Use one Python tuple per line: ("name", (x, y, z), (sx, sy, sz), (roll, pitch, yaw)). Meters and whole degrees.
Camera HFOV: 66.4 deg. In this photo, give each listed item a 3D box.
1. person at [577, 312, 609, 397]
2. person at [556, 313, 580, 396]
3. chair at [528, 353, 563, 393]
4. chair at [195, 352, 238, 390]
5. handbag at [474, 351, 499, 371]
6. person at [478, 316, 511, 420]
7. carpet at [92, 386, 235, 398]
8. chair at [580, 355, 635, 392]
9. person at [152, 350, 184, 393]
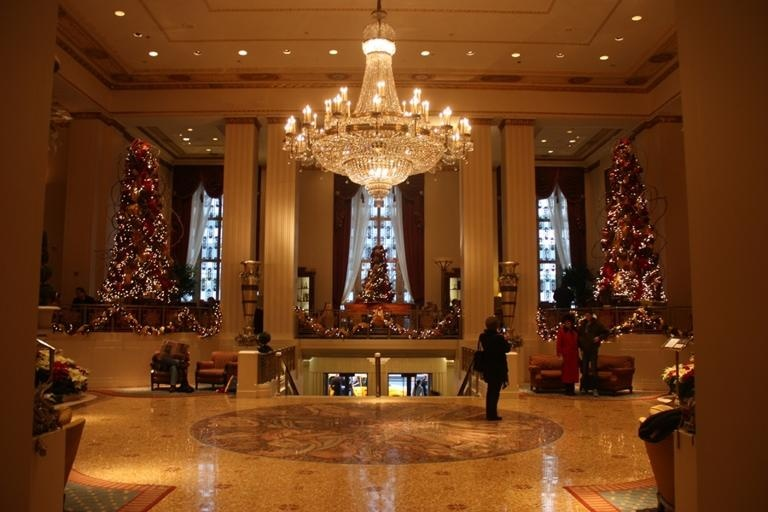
("person", (4.130, 1.970, 11.843), (0.522, 1.608, 0.604), (1, -5, -8))
("person", (3.710, 1.979, 11.825), (0.431, 1.594, 0.638), (-1, -5, 18))
("chair", (3.515, 2.489, 12.499), (0.807, 0.779, 0.914), (-4, -12, 20))
("chair", (-3.603, 2.509, 12.828), (0.854, 0.848, 0.718), (-3, -9, 23))
("handbag", (1.537, 1.596, 8.866), (0.324, 0.355, 0.267), (-1, -10, 10))
("person", (1.683, 1.721, 8.988), (0.466, 1.553, 0.356), (-1, -5, 11))
("carpet", (-4.600, 2.761, 11.883), (2.872, 0.076, 1.458), (-1, -5, 12))
("chair", (4.616, 2.444, 12.129), (0.833, 0.799, 0.834), (8, -11, -39))
("person", (-4.545, 2.428, 12.303), (0.791, 0.988, 0.749), (3, -13, -15))
